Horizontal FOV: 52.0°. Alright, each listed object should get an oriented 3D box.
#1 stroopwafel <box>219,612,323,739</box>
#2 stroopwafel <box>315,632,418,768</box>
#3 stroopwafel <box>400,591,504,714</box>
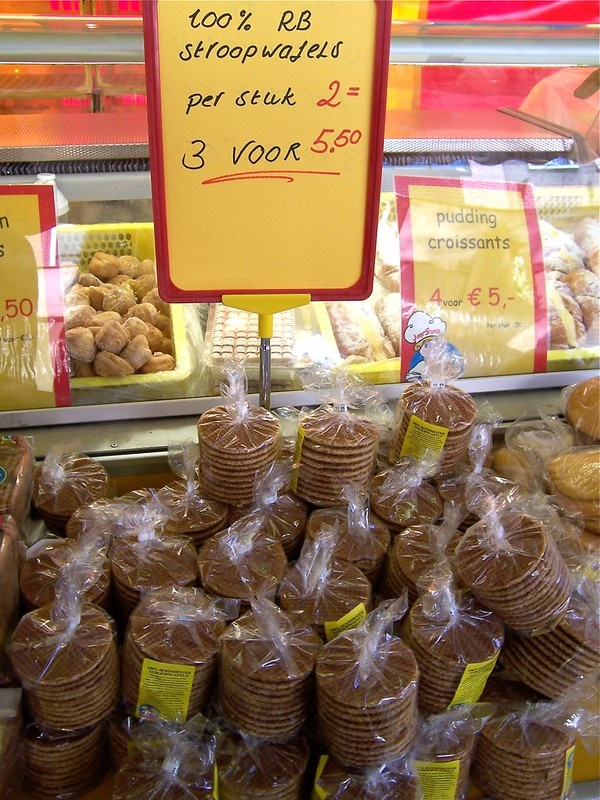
[{"bbox_3d":[-0.040,0.371,0.923,0.156,0.166,0.166,-5,-16,-13],"label":"stroopwafel"},{"bbox_3d":[0.091,0.421,0.851,0.137,0.163,0.121,2,15,9],"label":"stroopwafel"},{"bbox_3d":[0.236,0.395,0.952,0.154,0.179,0.102,3,15,10],"label":"stroopwafel"}]
